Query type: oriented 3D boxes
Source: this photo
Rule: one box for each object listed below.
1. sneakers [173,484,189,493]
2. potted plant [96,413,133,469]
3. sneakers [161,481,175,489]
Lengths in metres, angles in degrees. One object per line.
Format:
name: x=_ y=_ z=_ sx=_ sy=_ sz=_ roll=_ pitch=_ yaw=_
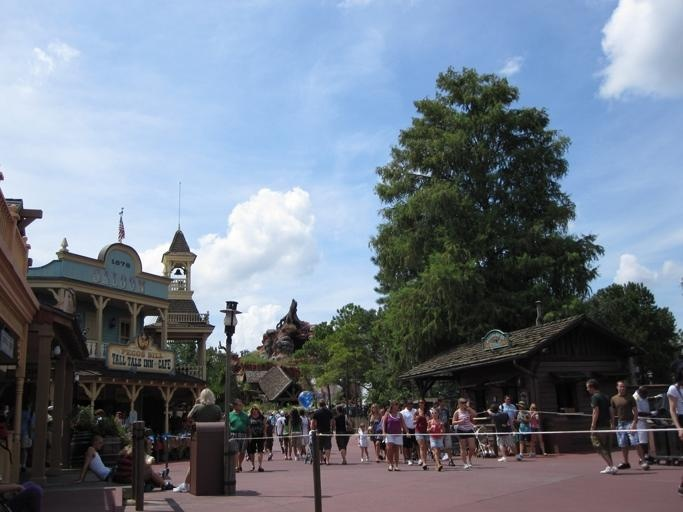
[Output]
sneakers: x=-3.648 y=5.282 z=14.110 sx=0.422 sy=0.213 sz=0.160 roll=6 pitch=-23 yaw=4
potted plant: x=-7.466 y=5.893 z=20.355 sx=0.968 sy=1.466 sz=1.252 roll=-3 pitch=-17 yaw=-8
sneakers: x=-3.967 y=5.271 z=14.248 sx=0.324 sy=0.151 sz=0.117 roll=9 pitch=-9 yaw=-42
